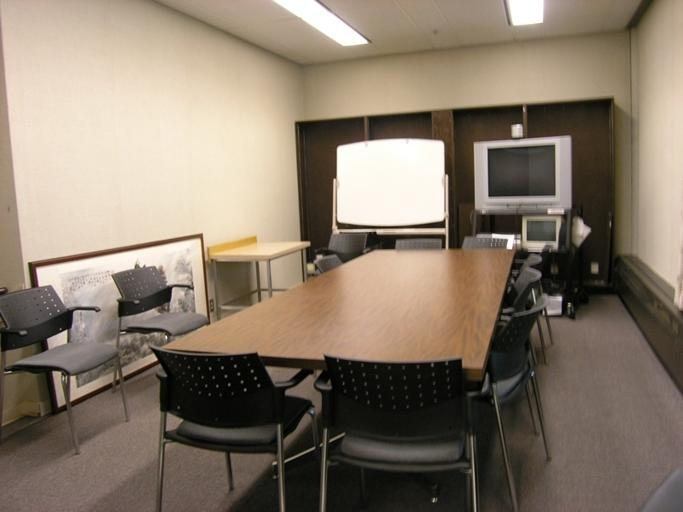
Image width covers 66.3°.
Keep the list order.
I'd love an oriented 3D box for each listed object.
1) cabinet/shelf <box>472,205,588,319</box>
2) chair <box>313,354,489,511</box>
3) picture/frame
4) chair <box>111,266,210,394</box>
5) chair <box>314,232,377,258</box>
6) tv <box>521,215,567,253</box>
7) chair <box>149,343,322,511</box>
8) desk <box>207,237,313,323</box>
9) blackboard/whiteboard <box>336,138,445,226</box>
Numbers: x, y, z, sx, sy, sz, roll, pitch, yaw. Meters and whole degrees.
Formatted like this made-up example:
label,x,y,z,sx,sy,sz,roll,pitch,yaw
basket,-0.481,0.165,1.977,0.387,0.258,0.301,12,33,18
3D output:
label,x,y,z,sx,sy,sz,roll,pitch,yaw
cabinet/shelf,1.884,0.052,5.158,1.167,1.249,0.637,0,2,31
chair,0.250,0.712,2.794,0.744,1.133,0.744,0,14,5
picture/frame,-1.778,0.542,4.043,0.039,0.901,1.225,4,15,28
chair,-1.470,0.563,4.611,0.617,0.960,0.813,5,11,25
chair,0.074,-0.135,5.741,0.434,0.220,0.360,0,5,1
tv,2.221,-0.239,5.835,0.441,0.399,0.215,5,12,30
chair,-0.552,0.739,2.998,0.775,1.224,0.864,1,10,12
desk,-0.908,0.053,5.926,0.719,1.232,1.426,2,11,14
blackboard/whiteboard,0.301,-0.428,3.103,0.453,0.384,0.038,-1,-1,7
